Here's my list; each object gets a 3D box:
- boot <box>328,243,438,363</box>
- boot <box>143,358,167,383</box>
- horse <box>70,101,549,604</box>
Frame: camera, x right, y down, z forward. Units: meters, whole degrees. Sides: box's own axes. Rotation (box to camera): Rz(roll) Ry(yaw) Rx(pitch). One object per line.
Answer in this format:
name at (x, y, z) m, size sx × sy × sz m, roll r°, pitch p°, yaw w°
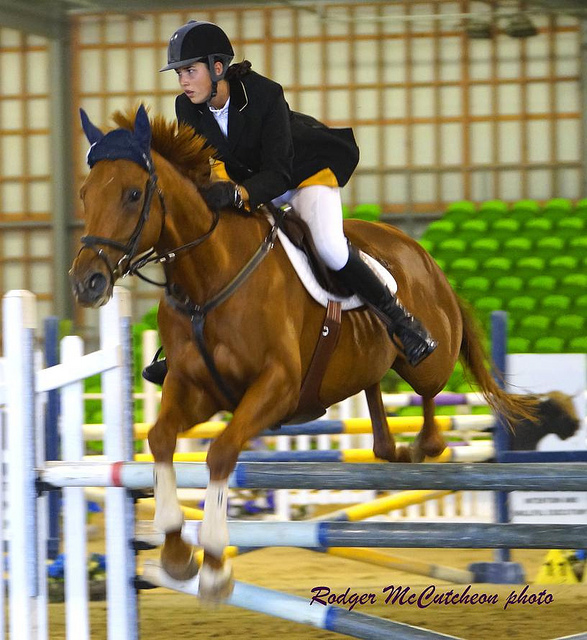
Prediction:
boot at (0.329, -0.084, 5.829) m, size 0.119 × 0.519 × 0.175 m, roll -36°, pitch -5°, yaw -38°
boot at (-0.552, 0.196, 5.803) m, size 0.071 × 0.100 × 0.132 m, roll -2°, pitch 2°, yaw -16°
horse at (-0.038, 0.104, 5.721) m, size 1.762 × 1.810 × 0.465 m, roll -2°, pitch 2°, yaw -41°
